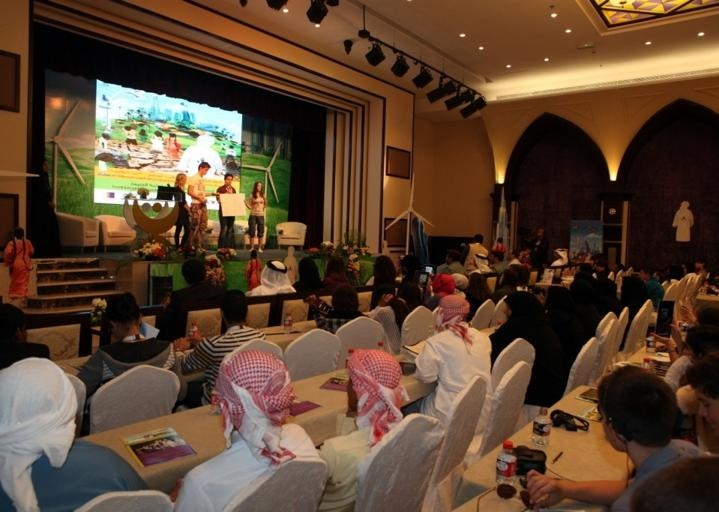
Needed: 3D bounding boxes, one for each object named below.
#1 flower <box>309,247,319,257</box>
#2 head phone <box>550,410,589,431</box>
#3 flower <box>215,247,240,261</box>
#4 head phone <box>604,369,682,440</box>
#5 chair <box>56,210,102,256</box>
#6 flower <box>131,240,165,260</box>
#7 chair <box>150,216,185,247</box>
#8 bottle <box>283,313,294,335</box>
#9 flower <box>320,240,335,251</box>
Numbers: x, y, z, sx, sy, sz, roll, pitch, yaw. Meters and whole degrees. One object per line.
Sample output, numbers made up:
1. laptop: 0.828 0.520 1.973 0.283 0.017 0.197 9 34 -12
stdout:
1. flower: -0.938 -0.102 10.312 0.216 0.204 0.226 4 8 28
2. head phone: 1.202 0.946 2.870 0.095 0.068 0.152 -1 11 -34
3. flower: -2.328 -0.043 8.790 0.258 0.164 0.309 1 -1 -26
4. head phone: 1.133 0.607 2.046 0.287 0.257 0.144 5 3 26
5. chair: -5.366 -0.476 9.601 0.763 0.965 0.718 1 0 19
6. flower: -3.307 -0.081 8.018 0.321 0.219 0.371 2 4 -2
7. chair: -3.357 -0.464 8.756 0.403 0.277 0.403 -19 -1 -45
8. bottle: -0.699 0.662 4.880 0.133 0.260 0.140 0 -3 0
9. flower: -0.699 -0.254 11.082 0.276 0.145 0.374 0 1 -2
